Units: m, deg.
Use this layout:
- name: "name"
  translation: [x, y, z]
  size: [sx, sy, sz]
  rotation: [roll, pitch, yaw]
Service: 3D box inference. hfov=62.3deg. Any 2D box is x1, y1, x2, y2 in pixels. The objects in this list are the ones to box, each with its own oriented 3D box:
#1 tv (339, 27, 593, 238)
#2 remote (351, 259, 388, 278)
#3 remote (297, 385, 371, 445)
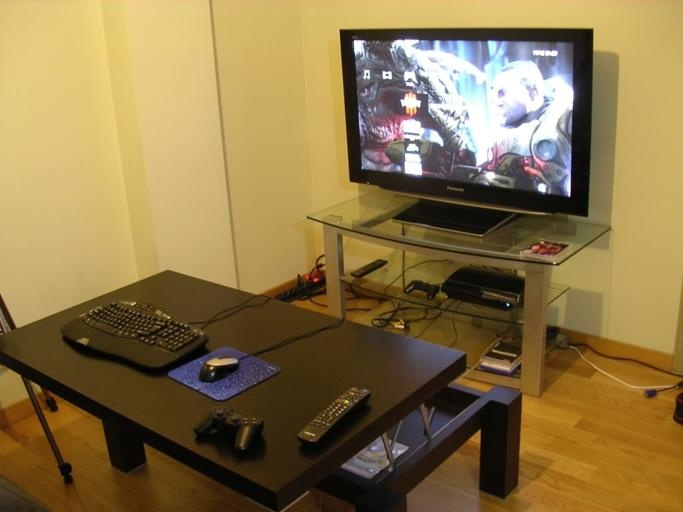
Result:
- name: "tv"
  translation: [0.720, -0.687, 3.100]
  size: [1.151, 0.801, 0.304]
  rotation: [14, 33, 32]
- name: "remote"
  translation: [0.166, 0.080, 3.516]
  size: [0.202, 0.040, 0.109]
  rotation: [-25, 30, -26]
- name: "remote"
  translation: [-0.029, 0.475, 1.666]
  size: [0.086, 0.068, 0.295]
  rotation: [17, 33, 36]
